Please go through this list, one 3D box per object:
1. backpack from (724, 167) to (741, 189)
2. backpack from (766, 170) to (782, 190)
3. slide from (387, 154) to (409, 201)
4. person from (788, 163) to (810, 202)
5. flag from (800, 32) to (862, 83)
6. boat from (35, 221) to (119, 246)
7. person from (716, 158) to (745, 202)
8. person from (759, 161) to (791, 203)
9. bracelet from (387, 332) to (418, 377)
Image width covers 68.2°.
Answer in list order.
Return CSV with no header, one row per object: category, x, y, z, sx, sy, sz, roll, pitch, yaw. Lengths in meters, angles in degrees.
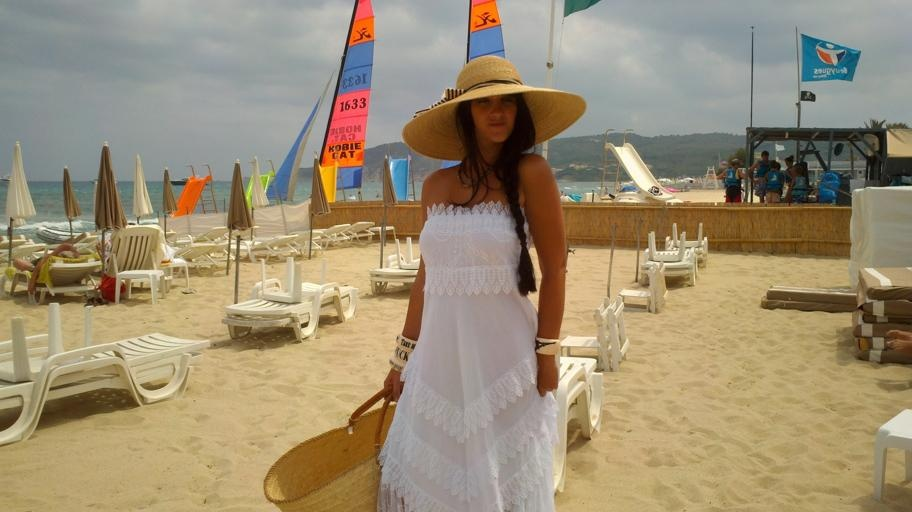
backpack,9.803,-2.819,23.838,0.470,0.673,0.379,0,5,23
backpack,10.523,-2.504,22.281,0.584,0.811,0.449,4,8,20
slide,-2.430,-3.452,29.429,0.674,2.518,0.954,3,20,9
person,10.899,-2.335,21.374,0.480,1.233,1.034,0,5,23
flag,15.228,-8.218,27.559,1.841,2.069,1.967,0,5,28
boat,-12.399,-0.746,21.953,2.784,0.861,1.651,4,7,28
person,9.935,-2.364,24.114,0.840,2.053,0.676,1,14,25
person,10.611,-2.384,22.558,0.684,1.684,0.582,6,23,28
bracelet,-0.553,1.017,7.121,0.326,0.357,0.371,8,1,27
